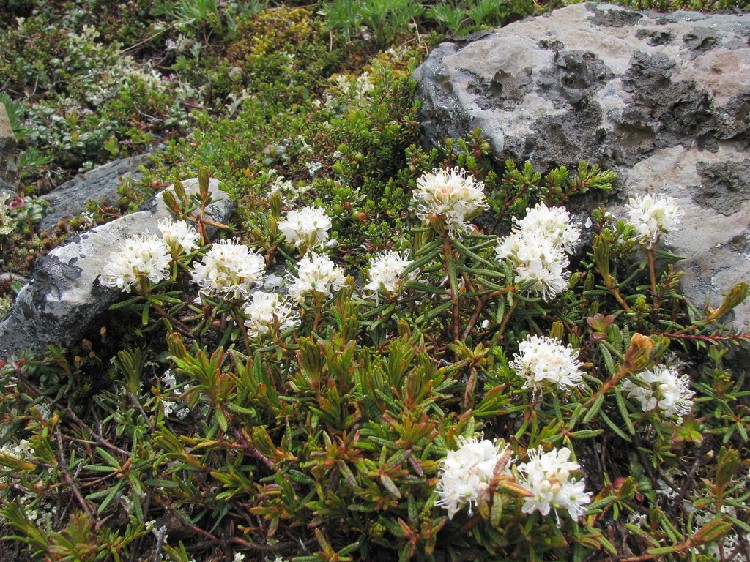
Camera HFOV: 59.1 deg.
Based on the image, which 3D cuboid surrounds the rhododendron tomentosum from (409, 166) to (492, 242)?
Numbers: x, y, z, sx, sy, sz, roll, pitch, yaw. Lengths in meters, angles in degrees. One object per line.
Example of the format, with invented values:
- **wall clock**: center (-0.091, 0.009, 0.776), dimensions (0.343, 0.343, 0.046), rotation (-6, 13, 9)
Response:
- **rhododendron tomentosum**: center (0.448, -0.514, 3.946), dimensions (0.443, 0.459, 0.441), rotation (-1, 68, 17)

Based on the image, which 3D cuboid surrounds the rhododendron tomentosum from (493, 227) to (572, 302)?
- **rhododendron tomentosum**: center (0.919, -0.123, 3.871), dimensions (0.403, 0.245, 0.379), rotation (16, 52, -10)

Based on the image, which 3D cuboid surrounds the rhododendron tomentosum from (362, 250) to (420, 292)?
- **rhododendron tomentosum**: center (0.073, -0.053, 4.043), dimensions (0.265, 0.273, 0.159), rotation (-21, 9, 3)

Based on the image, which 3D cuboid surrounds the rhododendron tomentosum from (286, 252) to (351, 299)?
- **rhododendron tomentosum**: center (-0.343, 0.004, 4.009), dimensions (0.305, 0.194, 0.286), rotation (-30, 62, -15)

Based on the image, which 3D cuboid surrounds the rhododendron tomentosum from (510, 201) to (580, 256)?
- **rhododendron tomentosum**: center (1.068, -0.265, 4.088), dimensions (0.375, 0.248, 0.384), rotation (17, 15, 22)

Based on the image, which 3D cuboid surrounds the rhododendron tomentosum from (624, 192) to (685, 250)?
- **rhododendron tomentosum**: center (1.765, -0.329, 4.256), dimensions (0.283, 0.488, 0.314), rotation (4, 48, 17)

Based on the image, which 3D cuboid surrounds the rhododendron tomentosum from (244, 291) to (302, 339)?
- **rhododendron tomentosum**: center (-0.628, 0.201, 3.959), dimensions (0.282, 0.187, 0.298), rotation (-15, 35, -5)

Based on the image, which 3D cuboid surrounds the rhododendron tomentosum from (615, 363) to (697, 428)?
- **rhododendron tomentosum**: center (1.640, 0.646, 3.816), dimensions (0.335, 0.228, 0.347), rotation (-7, 49, 6)

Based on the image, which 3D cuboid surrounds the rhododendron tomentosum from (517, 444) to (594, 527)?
- **rhododendron tomentosum**: center (0.920, 1.062, 3.444), dimensions (0.361, 0.554, 0.424), rotation (-5, 46, 8)

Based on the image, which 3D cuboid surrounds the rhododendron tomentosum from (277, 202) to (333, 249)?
- **rhododendron tomentosum**: center (-0.443, -0.312, 4.240), dimensions (0.292, 0.210, 0.279), rotation (-33, 60, -26)

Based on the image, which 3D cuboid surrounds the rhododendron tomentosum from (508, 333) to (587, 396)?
- **rhododendron tomentosum**: center (0.932, 0.434, 3.597), dimensions (0.343, 0.221, 0.339), rotation (-20, 45, -11)

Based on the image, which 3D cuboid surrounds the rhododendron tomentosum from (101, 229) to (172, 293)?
- **rhododendron tomentosum**: center (-1.434, -0.045, 4.086), dimensions (0.403, 0.287, 0.379), rotation (-19, 51, 26)

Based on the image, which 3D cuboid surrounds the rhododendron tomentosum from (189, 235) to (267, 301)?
- **rhododendron tomentosum**: center (-0.909, -0.043, 4.056), dimensions (0.445, 0.413, 0.277), rotation (1, 47, 14)
